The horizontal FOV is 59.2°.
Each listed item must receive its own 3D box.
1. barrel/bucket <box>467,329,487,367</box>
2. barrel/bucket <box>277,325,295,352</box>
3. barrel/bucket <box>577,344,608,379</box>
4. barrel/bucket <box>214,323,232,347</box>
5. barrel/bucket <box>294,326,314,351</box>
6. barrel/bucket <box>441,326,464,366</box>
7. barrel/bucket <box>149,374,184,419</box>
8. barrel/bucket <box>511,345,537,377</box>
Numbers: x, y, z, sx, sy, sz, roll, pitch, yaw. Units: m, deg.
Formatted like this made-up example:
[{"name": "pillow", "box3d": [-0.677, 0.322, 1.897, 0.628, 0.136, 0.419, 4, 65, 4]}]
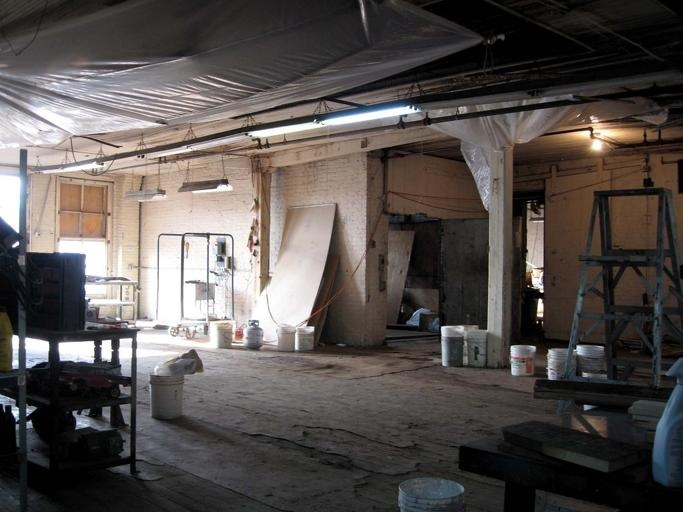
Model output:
[{"name": "barrel/bucket", "box3d": [2.276, 1.566, 10.132, 0.307, 0.609, 0.170, 1, 1, 42]}, {"name": "barrel/bucket", "box3d": [-1.083, 1.613, 11.640, 0.487, 0.438, 0.465, 1, -4, 0]}, {"name": "barrel/bucket", "box3d": [3.525, 1.489, 8.457, 0.448, 0.411, 0.434, 0, 0, 0]}, {"name": "barrel/bucket", "box3d": [-2.356, 1.600, 12.059, 0.327, 0.476, 0.317, 0, 1, 0]}, {"name": "barrel/bucket", "box3d": [-0.711, 1.621, 11.688, 0.370, 0.450, 0.332, 0, 1, -10]}, {"name": "barrel/bucket", "box3d": [1.882, 1.536, 10.176, 0.355, 0.656, 0.275, 0, 1, 8]}, {"name": "barrel/bucket", "box3d": [-1.861, 1.596, 6.874, 0.493, 0.451, 0.466, 0, -2, 0]}, {"name": "barrel/bucket", "box3d": [2.868, 1.654, 9.464, 0.457, 0.465, 0.392, 0, 1, -3]}]
